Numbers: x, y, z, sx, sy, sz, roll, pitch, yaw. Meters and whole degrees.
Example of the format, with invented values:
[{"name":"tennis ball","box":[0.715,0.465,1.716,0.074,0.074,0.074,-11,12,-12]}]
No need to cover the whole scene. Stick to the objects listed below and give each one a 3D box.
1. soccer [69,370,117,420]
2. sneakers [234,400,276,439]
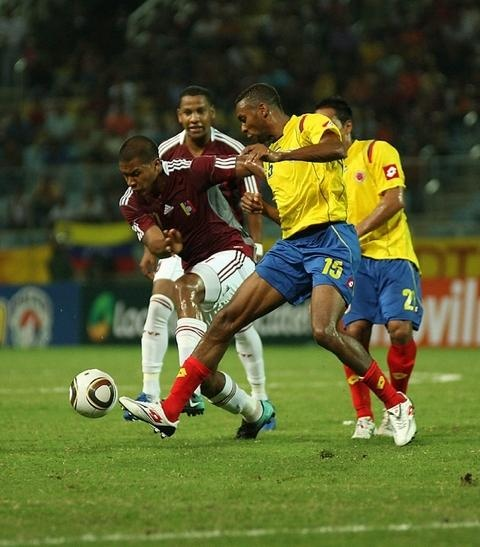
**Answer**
[{"name":"soccer","box":[-0.888,0.735,4.887,0.258,0.294,0.224,1,-4,-3]},{"name":"sneakers","box":[0.097,0.925,5.101,0.126,0.173,0.374,35,50,30]}]
